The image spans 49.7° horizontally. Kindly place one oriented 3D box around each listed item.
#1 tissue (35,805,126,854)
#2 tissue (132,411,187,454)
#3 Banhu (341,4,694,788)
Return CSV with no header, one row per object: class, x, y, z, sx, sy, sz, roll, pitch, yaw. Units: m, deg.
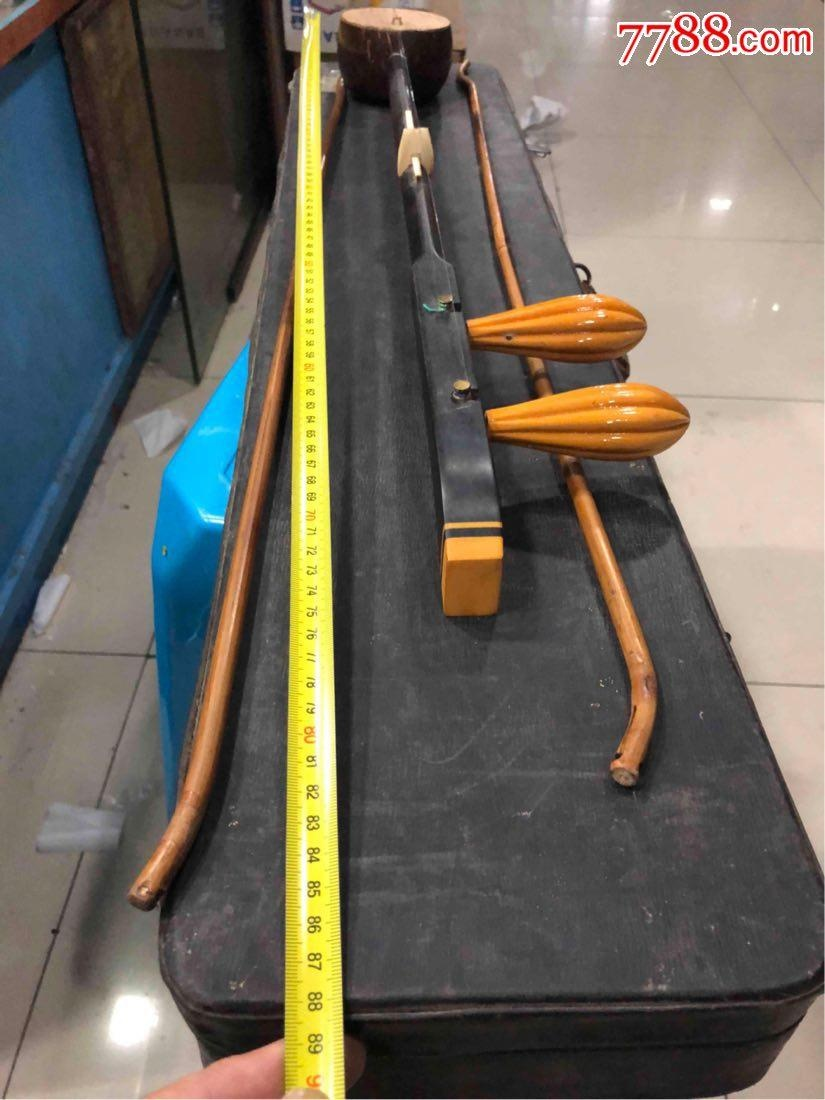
tissue,-0.385,0.326,1.039,0.056,0.020,0.060,10,44,-12
tissue,-0.452,-0.213,1.598,0.062,0.021,0.094,26,49,18
Banhu,0.078,-0.228,0.968,0.253,0.105,1.232,1,48,-4
